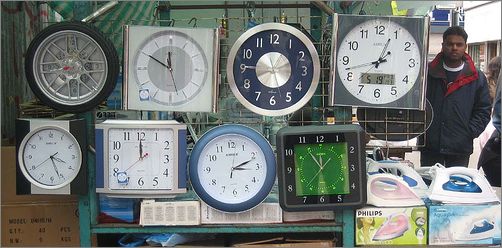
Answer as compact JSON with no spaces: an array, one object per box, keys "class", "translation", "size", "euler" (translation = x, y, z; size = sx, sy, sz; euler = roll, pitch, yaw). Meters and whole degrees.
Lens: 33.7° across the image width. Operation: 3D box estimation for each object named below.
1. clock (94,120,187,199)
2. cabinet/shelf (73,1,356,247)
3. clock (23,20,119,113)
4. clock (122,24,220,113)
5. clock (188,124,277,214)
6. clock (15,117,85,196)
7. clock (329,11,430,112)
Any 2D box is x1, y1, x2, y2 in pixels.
[{"class":"clock","translation":[-1.343,0.396,9.046],"size":[1.204,0.907,0.461],"euler":[0,0,-40]},{"class":"cabinet/shelf","translation":[-0.399,0.084,8.946],"size":[3.203,2.561,0.964],"euler":[0,-4,2]},{"class":"clock","translation":[-1.893,-0.624,8.955],"size":[1.117,0.972,0.335],"euler":[1,8,20]},{"class":"clock","translation":[-0.899,-0.587,8.977],"size":[1.165,0.898,0.147],"euler":[-1,5,-38]},{"class":"clock","translation":[-0.206,0.506,8.899],"size":[1.113,0.953,0.147],"euler":[0,-3,0]},{"class":"clock","translation":[-2.150,0.327,8.882],"size":[0.944,0.897,0.351],"euler":[0,-2,-3]},{"class":"clock","translation":[1.377,-0.682,8.911],"size":[1.181,0.976,0.161],"euler":[3,-2,2]}]
